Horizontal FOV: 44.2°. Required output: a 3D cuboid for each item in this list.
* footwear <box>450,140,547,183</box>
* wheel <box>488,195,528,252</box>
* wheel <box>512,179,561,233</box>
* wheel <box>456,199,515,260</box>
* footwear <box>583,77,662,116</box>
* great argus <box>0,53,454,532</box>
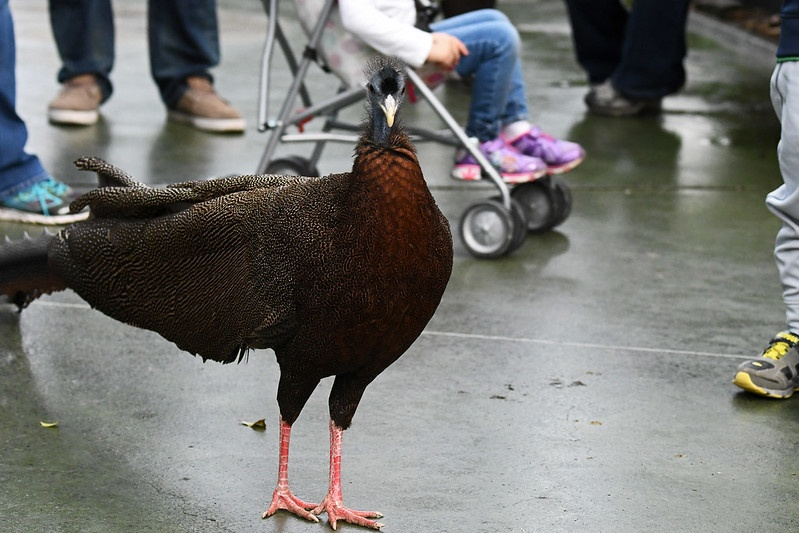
[{"bbox_3d":[0.558,-0.589,5.490,0.529,0.196,0.210,1,25,11],"label":"footwear"},{"bbox_3d":[0.615,-0.237,5.296,0.300,0.254,0.070,-3,0,40],"label":"wheel"},{"bbox_3d":[0.776,-0.348,5.522,0.326,0.268,0.106,10,8,14],"label":"wheel"},{"bbox_3d":[0.485,-0.202,5.352,0.401,0.329,0.140,0,7,18],"label":"wheel"},{"bbox_3d":[1.524,-1.142,6.679,0.490,0.171,0.220,5,18,19],"label":"footwear"},{"bbox_3d":[-0.575,-0.097,3.605,1.515,1.313,0.381,9,25,19],"label":"great argus"}]
